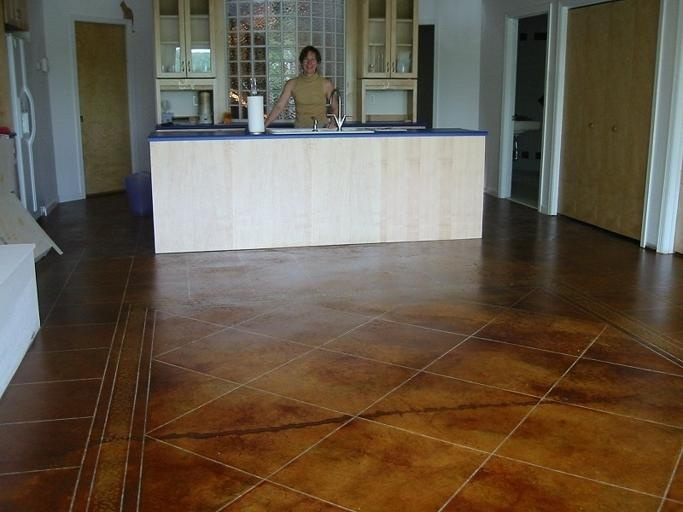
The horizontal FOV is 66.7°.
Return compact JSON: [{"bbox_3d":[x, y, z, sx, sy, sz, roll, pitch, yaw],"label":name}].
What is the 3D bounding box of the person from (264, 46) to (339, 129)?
[{"bbox_3d":[-0.456,-1.925,6.038,0.516,0.878,0.855,7,19,26],"label":"person"}]
